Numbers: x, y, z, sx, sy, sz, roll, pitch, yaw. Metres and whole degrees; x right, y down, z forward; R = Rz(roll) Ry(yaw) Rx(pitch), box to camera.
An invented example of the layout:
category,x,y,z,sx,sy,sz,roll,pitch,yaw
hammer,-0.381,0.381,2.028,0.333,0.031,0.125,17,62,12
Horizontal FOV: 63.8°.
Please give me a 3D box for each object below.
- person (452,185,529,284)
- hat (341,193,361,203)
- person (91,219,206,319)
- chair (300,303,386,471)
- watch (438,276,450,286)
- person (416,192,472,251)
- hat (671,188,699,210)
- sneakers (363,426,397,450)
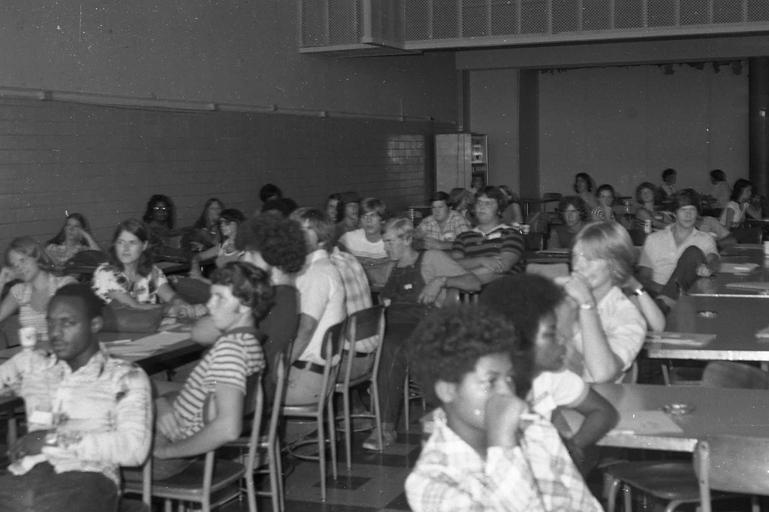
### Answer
category,x,y,z,sx,sy,sz,roll,pitch,yaw
person,1.036,-0.220,6.562,0.823,1.056,0.809,-6,5,-34
hat,-0.484,-0.813,8.625,0.315,0.093,0.301,0,6,-5
person,-1.754,0.174,4.575,1.084,0.732,0.551,7,11,39
chair,-0.374,0.973,4.644,0.736,1.058,0.720,-2,-2,9
watch,0.493,0.206,5.146,0.063,0.079,0.026,-1,5,-11
person,0.737,-0.433,8.666,0.911,0.776,0.830,4,21,25
hat,2.915,-0.539,5.974,0.216,0.218,0.331,5,11,26
sneakers,-0.036,1.404,4.796,0.249,0.092,0.135,-6,9,-23
